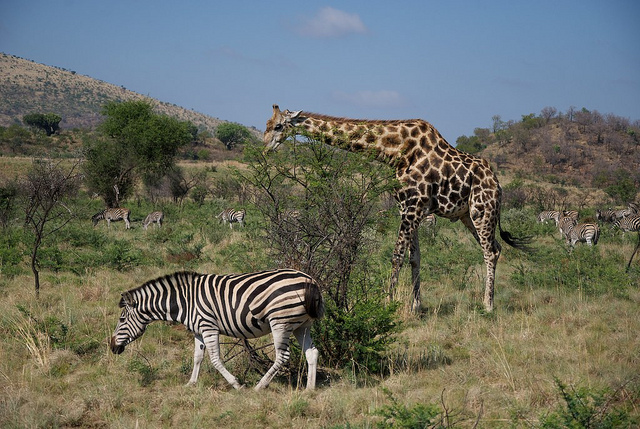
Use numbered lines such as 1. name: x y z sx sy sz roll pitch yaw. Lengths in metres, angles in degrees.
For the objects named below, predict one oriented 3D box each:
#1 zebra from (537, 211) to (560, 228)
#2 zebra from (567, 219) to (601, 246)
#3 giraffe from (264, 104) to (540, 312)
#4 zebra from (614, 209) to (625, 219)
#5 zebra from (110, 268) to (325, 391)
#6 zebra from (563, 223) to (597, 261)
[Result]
1. zebra: 12.169 0.130 38.708 1.047 0.826 2.880 3 -2 16
2. zebra: 11.150 0.826 31.223 0.595 1.515 1.943 -2 2 -29
3. giraffe: 2.790 -0.217 24.106 9.010 6.402 1.904 1 7 -6
4. zebra: 15.161 -0.038 36.852 0.409 0.543 1.872 2 -3 21
5. zebra: -3.904 3.562 23.098 8.086 5.300 2.603 1 -9 4
6. zebra: 11.076 0.945 31.262 0.505 1.641 2.010 -1 -5 -27
